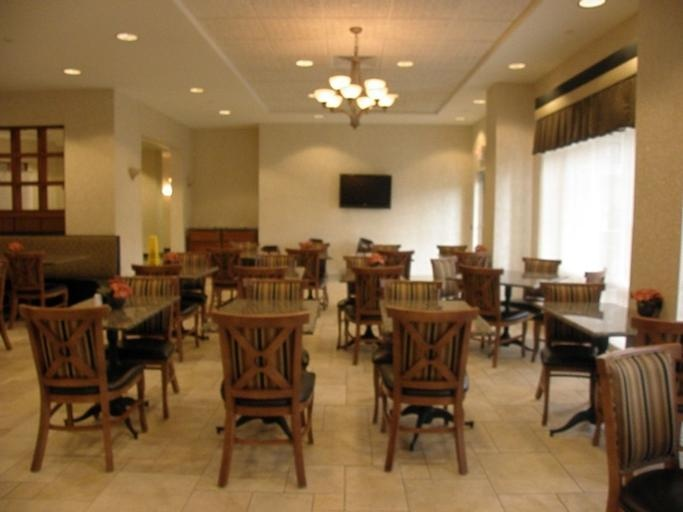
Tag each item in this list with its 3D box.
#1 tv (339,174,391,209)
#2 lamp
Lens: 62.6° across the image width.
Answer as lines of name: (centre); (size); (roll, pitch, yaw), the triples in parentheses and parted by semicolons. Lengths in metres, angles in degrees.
tv: (0.437, -1.273, 11.343); (0.959, 0.664, 0.197); (1, 2, 0)
lamp: (0.171, -2.215, 7.033); (1.028, 1.313, 1.020); (6, 7, 37)
